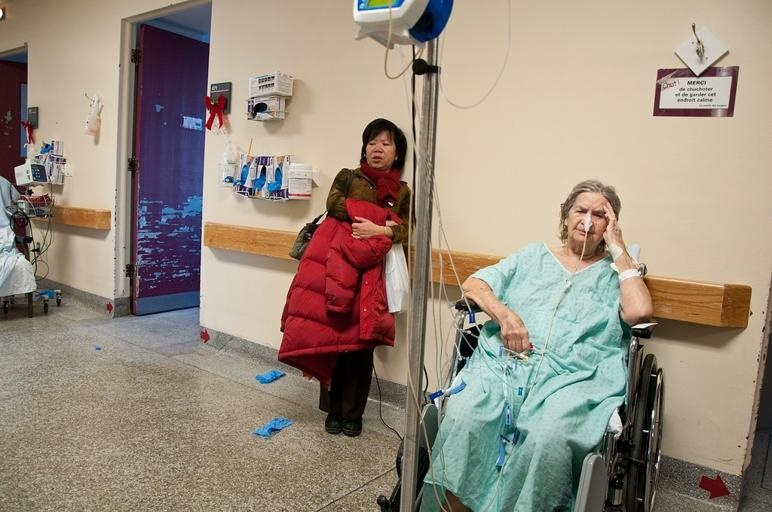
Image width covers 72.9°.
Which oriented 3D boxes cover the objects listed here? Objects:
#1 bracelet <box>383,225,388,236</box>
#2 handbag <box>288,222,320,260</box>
[{"bbox_3d":[-0.003,-0.160,3.167,0.029,0.040,0.040,3,-6,-12],"label":"bracelet"},{"bbox_3d":[-0.588,-0.098,3.536,0.130,0.308,0.317,18,-1,-17],"label":"handbag"}]
